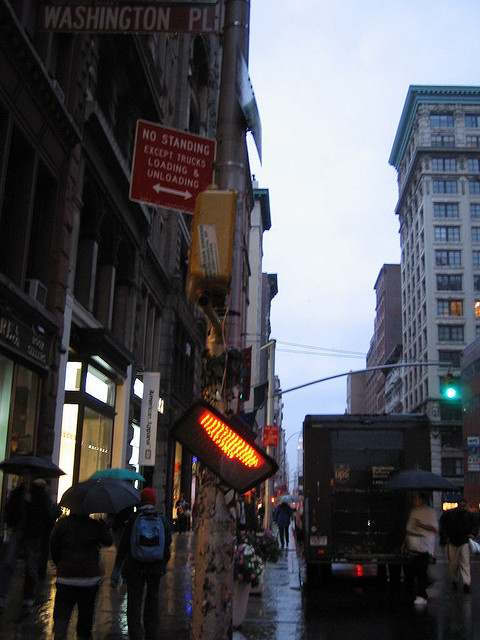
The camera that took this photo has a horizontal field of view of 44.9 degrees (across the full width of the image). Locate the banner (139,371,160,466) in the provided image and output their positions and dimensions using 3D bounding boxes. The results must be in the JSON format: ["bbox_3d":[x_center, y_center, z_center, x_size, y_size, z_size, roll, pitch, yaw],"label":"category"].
[{"bbox_3d":[-3.856,4.112,24.923,0.550,4.364,0.270,4,12,-1],"label":"banner"}]

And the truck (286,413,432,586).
[{"bbox_3d":[2.909,4.894,15.482,2.202,4.020,5.575,1,-26,5],"label":"truck"}]

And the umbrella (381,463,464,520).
[{"bbox_3d":[3.747,3.586,12.089,1.330,1.053,1.606,-4,-17,24],"label":"umbrella"}]

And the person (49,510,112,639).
[{"bbox_3d":[-1.446,2.297,5.186,0.523,1.158,1.238,6,-15,-18],"label":"person"}]

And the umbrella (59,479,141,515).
[{"bbox_3d":[-1.467,1.787,5.771,0.701,0.389,0.709,7,-11,-40],"label":"umbrella"}]

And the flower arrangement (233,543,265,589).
[{"bbox_3d":[0.119,3.509,8.294,0.393,0.568,0.675,3,-15,0],"label":"flower arrangement"}]

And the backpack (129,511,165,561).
[{"bbox_3d":[-0.887,2.053,5.777,0.294,0.657,0.312,5,26,-3],"label":"backpack"}]

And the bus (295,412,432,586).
[{"bbox_3d":[3.082,5.597,15.824,2.958,5.049,6.707,1,-18,4],"label":"bus"}]

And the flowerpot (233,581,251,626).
[{"bbox_3d":[0.014,3.884,8.010,0.189,0.549,0.969,0,-16,10],"label":"flowerpot"}]

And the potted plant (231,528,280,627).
[{"bbox_3d":[0.132,3.597,8.592,0.853,1.383,0.910,4,-1,17],"label":"potted plant"}]

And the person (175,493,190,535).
[{"bbox_3d":[-3.112,10.426,31.363,0.574,1.974,3.207,3,-16,-5],"label":"person"}]
